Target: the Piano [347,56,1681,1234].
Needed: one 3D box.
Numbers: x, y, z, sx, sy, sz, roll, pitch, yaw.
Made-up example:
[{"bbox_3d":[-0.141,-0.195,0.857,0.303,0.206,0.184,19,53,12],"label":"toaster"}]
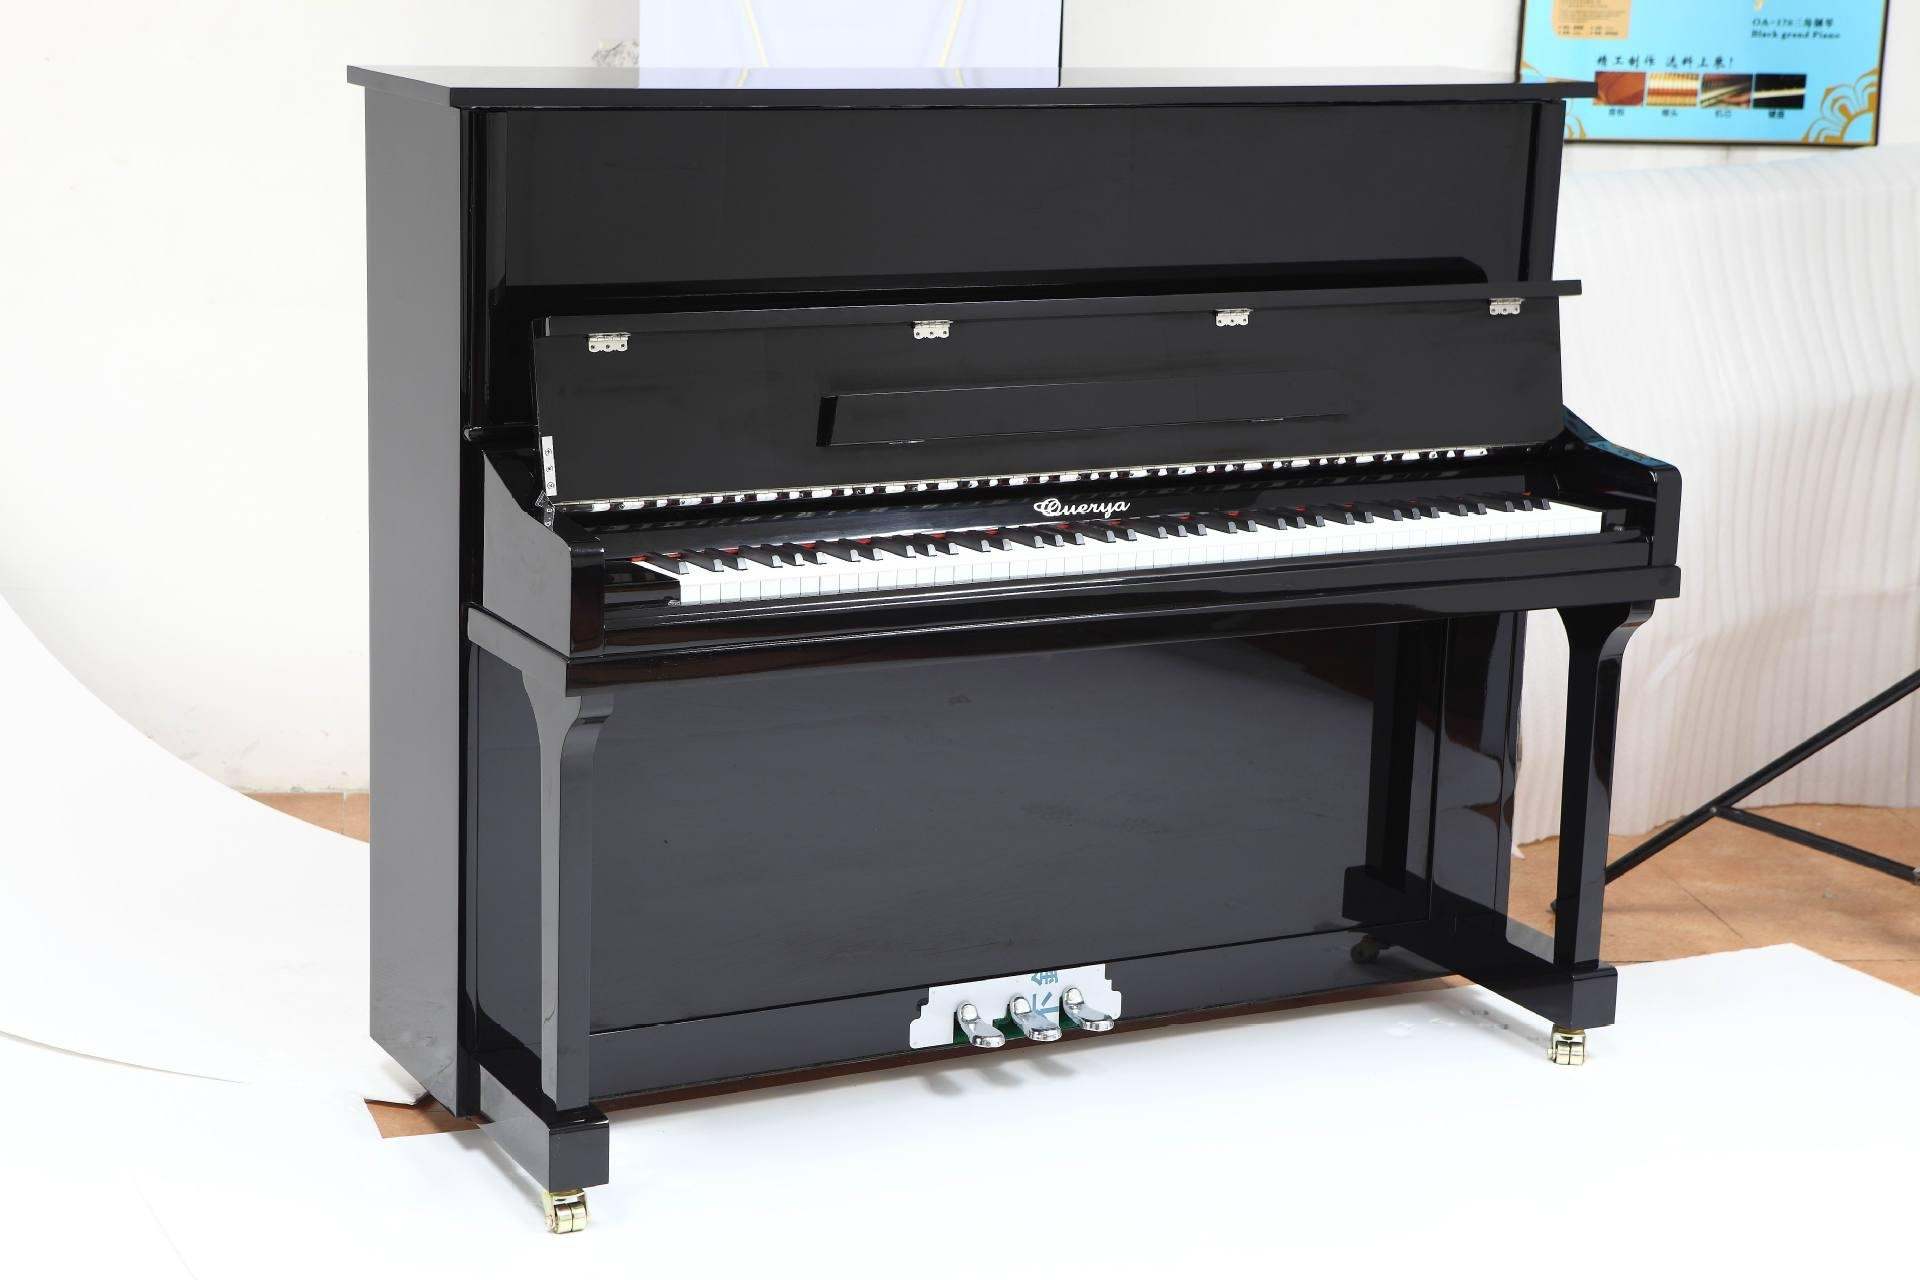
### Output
[{"bbox_3d":[0.122,-0.187,3.013,2.059,1.364,0.976,-8,26,-26],"label":"Piano"}]
